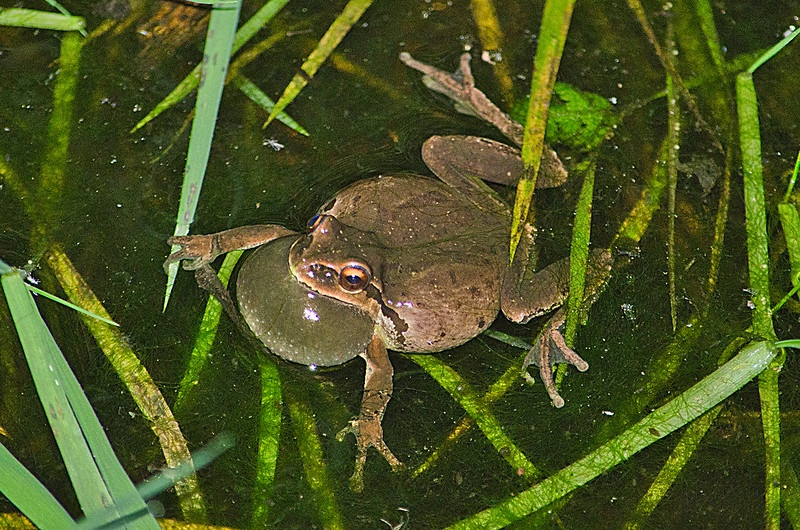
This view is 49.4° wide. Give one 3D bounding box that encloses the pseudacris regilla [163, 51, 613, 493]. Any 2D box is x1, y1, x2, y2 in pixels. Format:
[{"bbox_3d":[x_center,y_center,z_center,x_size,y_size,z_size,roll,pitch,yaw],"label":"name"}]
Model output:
[{"bbox_3d":[0.157,0.102,6.256,2.696,0.698,2.334,-32,85,-3],"label":"pseudacris regilla"}]
